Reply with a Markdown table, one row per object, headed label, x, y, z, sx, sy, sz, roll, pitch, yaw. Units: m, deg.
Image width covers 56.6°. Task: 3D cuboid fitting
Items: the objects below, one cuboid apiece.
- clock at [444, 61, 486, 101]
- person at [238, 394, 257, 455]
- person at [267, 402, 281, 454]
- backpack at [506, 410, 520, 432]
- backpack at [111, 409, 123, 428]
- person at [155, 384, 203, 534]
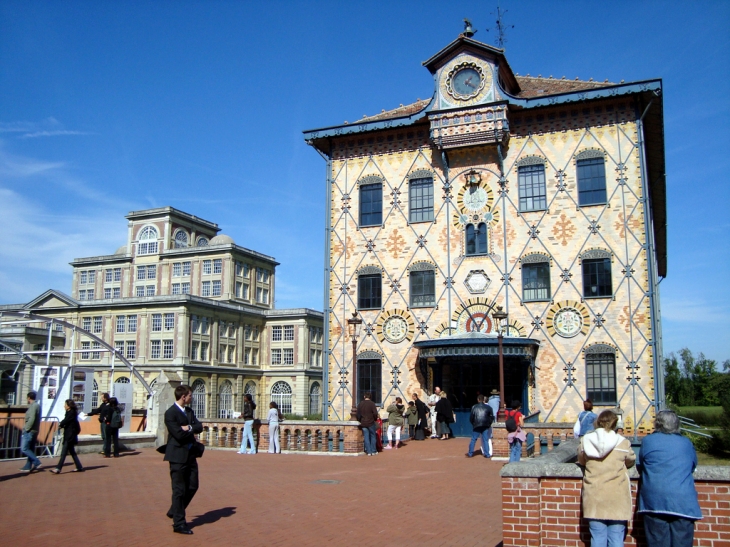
| label | x | y | z | sx | sy | sz | roll | pitch | yaw |
| --- | --- | --- | --- | --- | --- | --- | --- | --- | --- |
| clock | 4.722 | -8.943 | 31.563 | 1.804 | 1.990 | 0.139 | 2 | -8 | 24 |
| person | -4.380 | 5.662 | 25.642 | 0.606 | 2.205 | 1.565 | 4 | -13 | -10 |
| person | -3.327 | 5.689 | 25.049 | 0.522 | 1.860 | 0.943 | 3 | -13 | -6 |
| backpack | 4.542 | 4.530 | 20.805 | 0.454 | 0.718 | 0.385 | -14 | -37 | 38 |
| backpack | -8.564 | 4.964 | 23.310 | 0.348 | 0.621 | 0.526 | 7 | -14 | -21 |
| person | -3.630 | 3.642 | 13.428 | 0.751 | 2.787 | 0.738 | 5 | -13 | -14 |
